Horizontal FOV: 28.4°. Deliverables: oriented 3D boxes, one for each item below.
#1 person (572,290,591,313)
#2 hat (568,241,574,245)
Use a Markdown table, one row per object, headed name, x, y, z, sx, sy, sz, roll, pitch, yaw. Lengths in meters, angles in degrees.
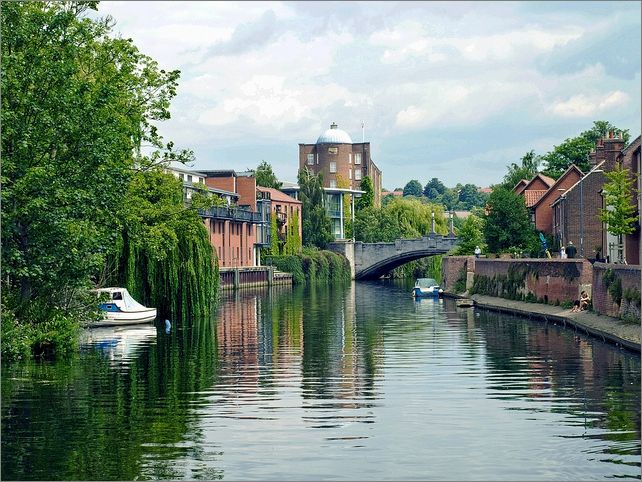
| name | x | y | z | sx | sy | sz | roll | pitch | yaw |
| --- | --- | --- | --- | --- | --- | --- | --- | --- | --- |
| person | 14.127 | 3.334 | 68.784 | 1.160 | 1.294 | 0.710 | 0 | -5 | 6 |
| hat | 18.221 | 0.119 | 92.968 | 0.413 | 0.182 | 0.575 | 1 | 2 | 7 |
